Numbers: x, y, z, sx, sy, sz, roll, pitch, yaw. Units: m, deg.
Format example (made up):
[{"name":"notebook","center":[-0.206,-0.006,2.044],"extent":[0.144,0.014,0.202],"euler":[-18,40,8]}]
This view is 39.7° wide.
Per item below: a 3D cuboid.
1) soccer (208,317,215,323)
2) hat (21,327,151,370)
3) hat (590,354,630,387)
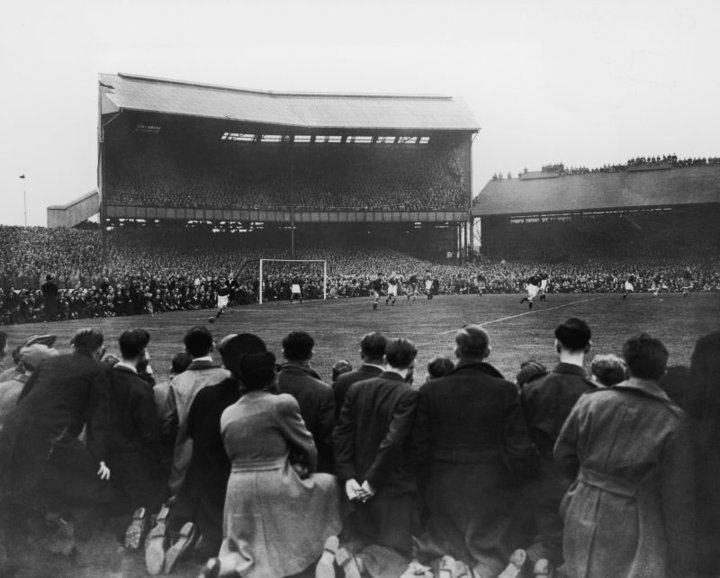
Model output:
[{"name":"soccer","center":[-4.136,0.852,27.965],"extent":[0.194,0.251,0.194],"euler":[1,-2,-33]},{"name":"hat","center":[-2.835,0.635,10.225],"extent":[1.300,0.479,0.871],"euler":[-2,1,-18]},{"name":"hat","center":[2.412,0.764,9.713],"extent":[0.258,0.306,0.365],"euler":[5,12,30]}]
